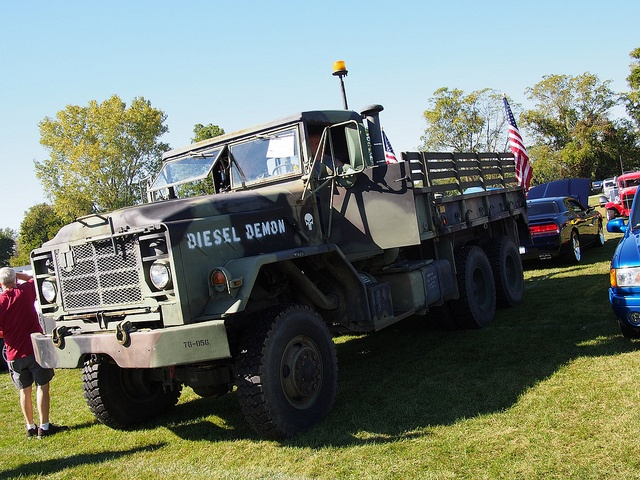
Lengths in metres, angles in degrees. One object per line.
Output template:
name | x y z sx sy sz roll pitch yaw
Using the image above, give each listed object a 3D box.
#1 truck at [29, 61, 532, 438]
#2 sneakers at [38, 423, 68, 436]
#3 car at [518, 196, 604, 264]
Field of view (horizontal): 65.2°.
truck | -0.006 0.227 7.710 3.545 3.941 7.285 -5 6 38
sneakers | -3.326 2.345 6.183 0.337 0.151 0.125 -5 1 -29
car | 6.001 -0.300 12.477 1.449 1.162 3.160 -2 7 37
